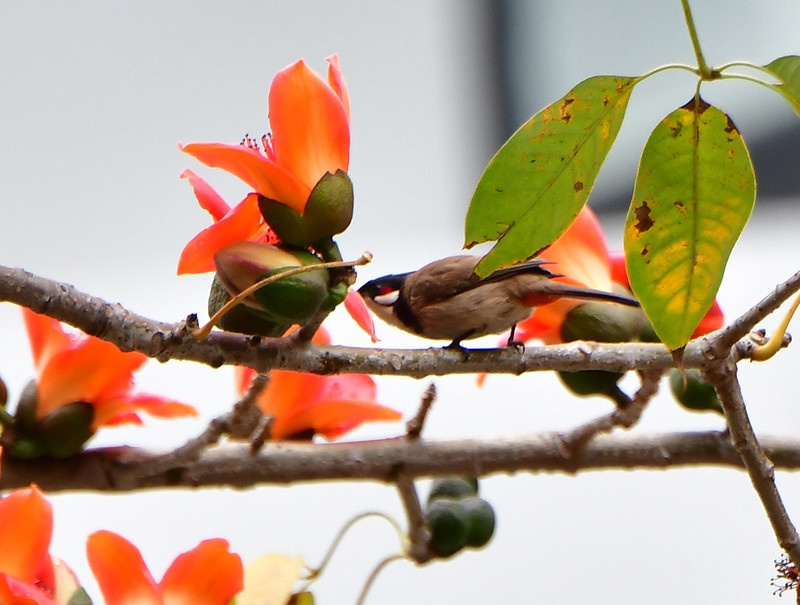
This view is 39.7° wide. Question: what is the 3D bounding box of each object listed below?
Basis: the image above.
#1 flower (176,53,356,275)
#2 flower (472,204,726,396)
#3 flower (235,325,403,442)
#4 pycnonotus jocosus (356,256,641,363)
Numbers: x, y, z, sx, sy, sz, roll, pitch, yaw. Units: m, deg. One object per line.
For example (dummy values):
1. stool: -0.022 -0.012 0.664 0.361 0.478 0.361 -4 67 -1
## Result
1. flower: -0.125 -0.114 1.107 0.105 0.191 0.200 23 -63 -13
2. flower: 0.235 0.016 1.318 0.204 0.150 0.219 20 -39 -29
3. flower: -0.083 0.115 1.230 0.147 0.063 0.096 10 -34 -17
4. pycnonotus jocosus: 0.117 -0.006 1.378 0.374 0.108 0.108 -9 -13 24
